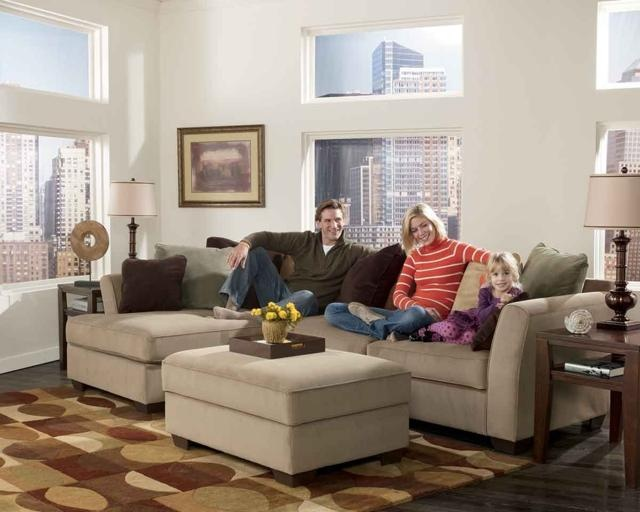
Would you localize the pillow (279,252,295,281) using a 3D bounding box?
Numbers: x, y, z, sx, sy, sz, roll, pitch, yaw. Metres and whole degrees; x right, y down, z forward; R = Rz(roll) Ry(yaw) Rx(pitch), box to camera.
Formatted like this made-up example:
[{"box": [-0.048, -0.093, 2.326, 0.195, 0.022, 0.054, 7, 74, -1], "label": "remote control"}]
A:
[{"box": [-0.262, 0.089, 4.809, 0.079, 0.172, 0.178, 7, 6, -41], "label": "pillow"}]

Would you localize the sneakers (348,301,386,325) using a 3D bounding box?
[{"box": [0.294, 0.380, 3.819, 0.283, 0.093, 0.106, 30, 6, 23], "label": "sneakers"}]

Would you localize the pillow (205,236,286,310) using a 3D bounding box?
[{"box": [-0.642, -0.005, 4.898, 0.639, 0.597, 0.244, 0, -8, -1], "label": "pillow"}]

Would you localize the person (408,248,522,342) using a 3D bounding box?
[{"box": [0.887, 0.263, 3.459, 0.759, 0.467, 0.408, -8, 11, -13], "label": "person"}]

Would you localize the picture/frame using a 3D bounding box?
[{"box": [-0.986, -0.943, 5.928, 0.985, 0.776, 0.045, 1, 2, 17], "label": "picture/frame"}]

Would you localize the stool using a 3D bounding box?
[{"box": [-0.058, 0.546, 2.804, 0.648, 0.391, 0.869, -3, 4, -40], "label": "stool"}]

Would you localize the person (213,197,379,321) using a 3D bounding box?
[{"box": [-0.134, 0.083, 4.661, 1.533, 1.056, 0.784, 10, -3, -31], "label": "person"}]

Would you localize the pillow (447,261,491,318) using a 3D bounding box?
[{"box": [0.993, 0.222, 3.849, 0.099, 0.318, 0.267, 23, 1, -21], "label": "pillow"}]

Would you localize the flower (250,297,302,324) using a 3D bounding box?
[{"box": [-0.230, 0.298, 3.062, 0.186, 0.105, 0.264, 0, 2, -26], "label": "flower"}]

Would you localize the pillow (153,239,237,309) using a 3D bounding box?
[{"box": [-0.930, 0.140, 4.722, 0.223, 0.472, 0.598, -4, 16, 36], "label": "pillow"}]

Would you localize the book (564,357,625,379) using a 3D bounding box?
[{"box": [1.376, 0.568, 2.895, 0.234, 0.056, 0.219, 0, 2, -25], "label": "book"}]

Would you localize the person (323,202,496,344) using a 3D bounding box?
[{"box": [0.607, 0.142, 3.875, 1.091, 0.827, 0.936, -11, 6, -8], "label": "person"}]

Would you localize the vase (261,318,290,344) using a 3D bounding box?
[{"box": [-0.237, 0.392, 3.001, 0.130, 0.088, 0.128, -3, -5, 39], "label": "vase"}]
